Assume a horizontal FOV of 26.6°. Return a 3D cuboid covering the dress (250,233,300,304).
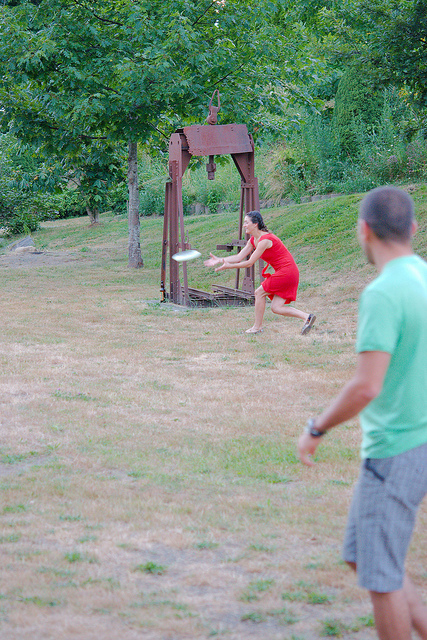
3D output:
[{"bbox_3d":[0.718,-0.545,9.921,0.292,0.763,0.427,-10,16,-35],"label":"dress"}]
